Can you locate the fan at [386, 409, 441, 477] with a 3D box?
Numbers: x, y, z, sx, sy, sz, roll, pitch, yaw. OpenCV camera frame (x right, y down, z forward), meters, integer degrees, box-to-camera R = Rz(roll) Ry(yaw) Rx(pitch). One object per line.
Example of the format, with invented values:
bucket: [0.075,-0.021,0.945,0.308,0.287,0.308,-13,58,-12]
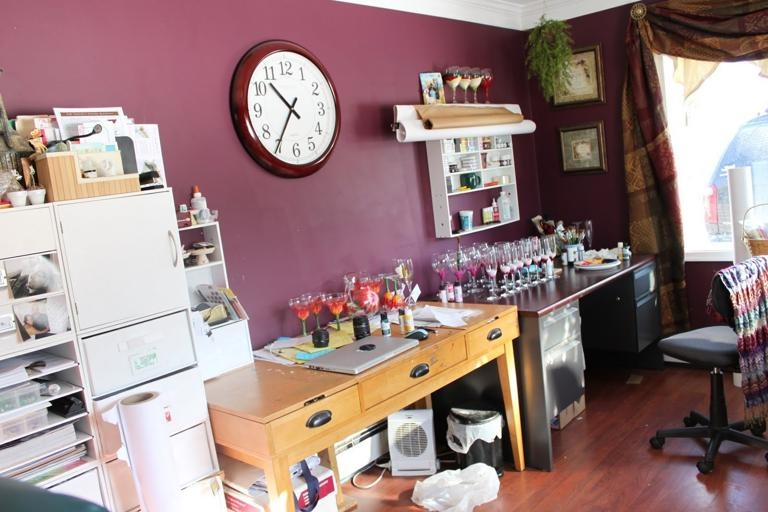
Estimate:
fan: [0.218,1.280,3.747,0.320,0.455,0.263,-5,7,12]

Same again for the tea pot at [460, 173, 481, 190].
tea pot: [0.736,-0.658,4.528,0.122,0.133,0.258,6,17,44]

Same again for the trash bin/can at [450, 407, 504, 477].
trash bin/can: [0.613,1.273,3.709,0.409,0.431,0.353,-8,-1,7]

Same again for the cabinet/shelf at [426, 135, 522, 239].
cabinet/shelf: [0.798,-0.636,4.600,1.070,0.821,0.243,-16,16,-41]

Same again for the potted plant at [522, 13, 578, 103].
potted plant: [1.595,-1.929,5.076,0.445,0.807,0.299,-2,12,17]

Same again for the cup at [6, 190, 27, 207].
cup: [-1.644,-0.260,2.357,0.071,0.059,0.074,1,7,0]

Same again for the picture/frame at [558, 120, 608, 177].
picture/frame: [1.960,-1.076,5.143,0.533,0.614,0.063,4,20,37]

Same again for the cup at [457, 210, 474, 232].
cup: [0.694,-0.308,4.482,0.152,0.213,0.169,-5,8,1]

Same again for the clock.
clock: [-0.638,-0.991,3.525,0.135,0.860,0.855,5,14,44]

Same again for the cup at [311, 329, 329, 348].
cup: [-0.403,0.496,3.237,0.095,0.096,0.098,1,6,0]

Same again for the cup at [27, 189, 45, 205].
cup: [-1.580,-0.276,2.392,0.074,0.060,0.072,-3,15,1]

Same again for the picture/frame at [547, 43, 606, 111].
picture/frame: [1.848,-1.742,5.011,0.566,0.599,0.044,8,18,24]

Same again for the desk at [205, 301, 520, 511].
desk: [-0.134,0.888,3.137,0.535,0.783,1.253,2,8,33]
